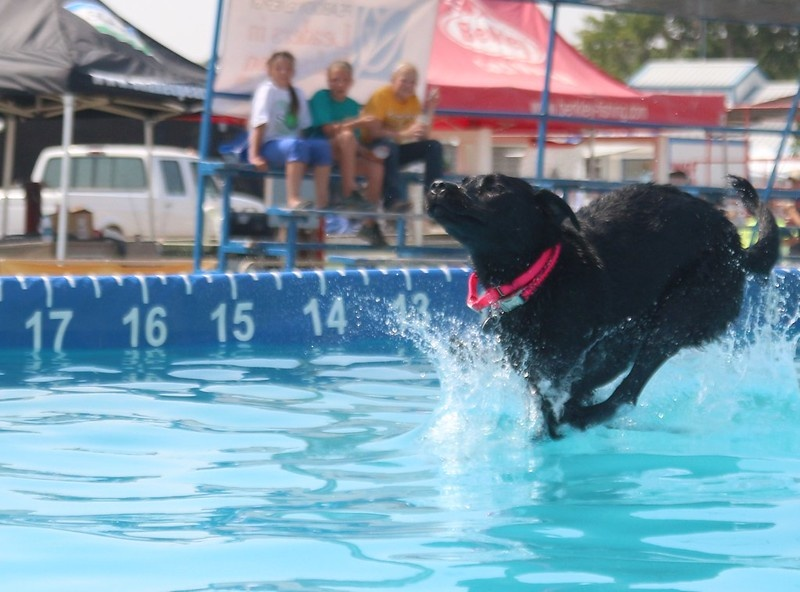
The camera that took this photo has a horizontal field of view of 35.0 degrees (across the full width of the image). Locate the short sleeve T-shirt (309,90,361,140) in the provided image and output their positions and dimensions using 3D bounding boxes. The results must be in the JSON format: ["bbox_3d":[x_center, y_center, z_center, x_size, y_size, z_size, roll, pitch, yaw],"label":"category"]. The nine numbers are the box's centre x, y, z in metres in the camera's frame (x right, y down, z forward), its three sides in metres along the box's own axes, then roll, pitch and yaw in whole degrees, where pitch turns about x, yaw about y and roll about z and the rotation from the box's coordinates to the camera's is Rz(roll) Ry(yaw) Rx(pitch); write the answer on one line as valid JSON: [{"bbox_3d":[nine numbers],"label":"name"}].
[{"bbox_3d":[-0.582,-1.566,11.002,0.598,0.361,0.309,-5,2,-31],"label":"short sleeve T-shirt"}]

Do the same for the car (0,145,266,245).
[{"bbox_3d":[-3.369,-1.373,16.685,3.643,1.168,1.772,-3,6,-22],"label":"car"}]

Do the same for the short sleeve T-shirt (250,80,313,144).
[{"bbox_3d":[-1.048,-1.566,10.867,0.435,0.519,0.768,7,8,32],"label":"short sleeve T-shirt"}]

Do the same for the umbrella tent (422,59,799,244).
[{"bbox_3d":[2.060,-1.488,12.967,4.369,1.475,3.939,2,7,12],"label":"umbrella tent"}]

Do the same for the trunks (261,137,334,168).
[{"bbox_3d":[-0.895,-1.209,10.671,0.370,0.121,0.359,-6,-4,28],"label":"trunks"}]
